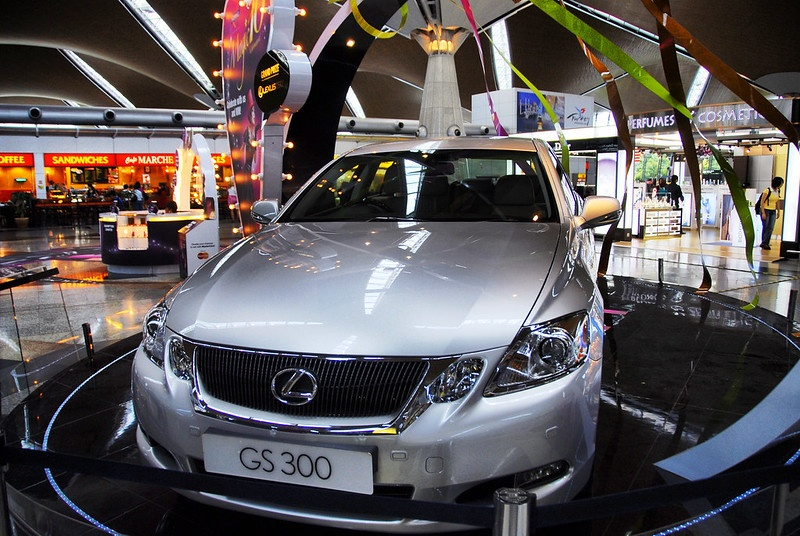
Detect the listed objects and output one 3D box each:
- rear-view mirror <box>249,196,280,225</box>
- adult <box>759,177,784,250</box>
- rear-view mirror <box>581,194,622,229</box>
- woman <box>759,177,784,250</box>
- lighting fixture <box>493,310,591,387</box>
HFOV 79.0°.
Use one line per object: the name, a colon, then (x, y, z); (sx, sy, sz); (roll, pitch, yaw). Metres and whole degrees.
rear-view mirror: (-0.998, -0.401, 3.582); (0.200, 0.228, 0.159); (8, 0, -26)
adult: (10.049, -1.538, 13.207); (0.466, 1.897, 1.784); (4, 9, 37)
rear-view mirror: (1.358, -0.389, 3.322); (0.288, 0.218, 0.102); (-20, 4, -7)
woman: (10.083, -1.545, 13.251); (0.466, 1.897, 1.896); (4, 9, 37)
lighting fixture: (0.606, 0.354, 2.138); (0.272, 0.150, 0.403); (-25, 3, -10)
